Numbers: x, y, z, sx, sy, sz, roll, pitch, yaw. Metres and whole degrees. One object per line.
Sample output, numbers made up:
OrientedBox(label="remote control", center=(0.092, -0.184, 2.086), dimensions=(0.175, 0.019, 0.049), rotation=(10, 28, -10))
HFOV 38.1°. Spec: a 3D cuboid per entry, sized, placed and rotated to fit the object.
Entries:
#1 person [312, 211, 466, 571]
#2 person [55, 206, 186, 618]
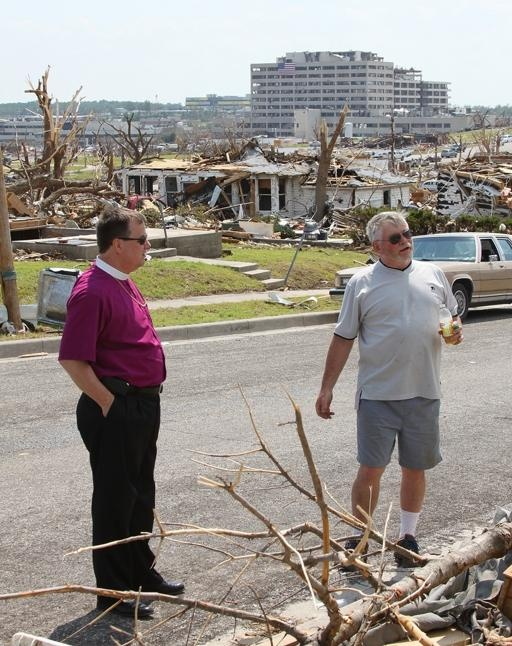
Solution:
OrientedBox(label="person", center=(0.694, 0.252, 3.776), dimensions=(0.668, 1.609, 0.380), rotation=(-7, 9, -27))
OrientedBox(label="person", center=(-0.593, 0.391, 3.245), dimensions=(0.422, 1.785, 0.568), rotation=(-2, 8, 5))
